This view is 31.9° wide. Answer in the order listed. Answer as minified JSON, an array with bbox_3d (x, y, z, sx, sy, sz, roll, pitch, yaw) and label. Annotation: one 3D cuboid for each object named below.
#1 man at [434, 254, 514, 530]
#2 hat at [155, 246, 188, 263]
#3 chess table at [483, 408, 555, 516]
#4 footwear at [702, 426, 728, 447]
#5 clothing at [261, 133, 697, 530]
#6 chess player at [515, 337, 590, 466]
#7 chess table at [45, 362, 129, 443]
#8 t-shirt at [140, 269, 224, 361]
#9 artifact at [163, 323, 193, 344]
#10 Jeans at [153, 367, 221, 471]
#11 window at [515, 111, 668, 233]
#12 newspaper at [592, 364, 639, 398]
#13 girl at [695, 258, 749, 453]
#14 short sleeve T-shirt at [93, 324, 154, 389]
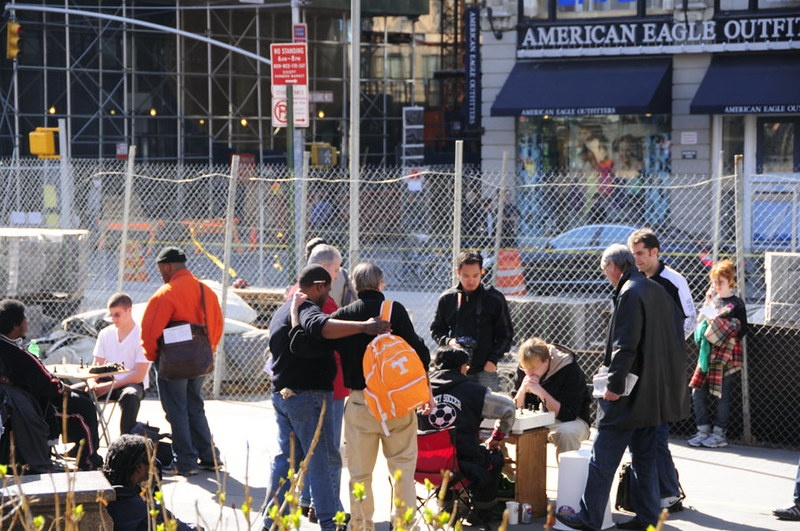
[{"bbox_3d":[1.296,1.910,23.977,1.260,4.267,1.454,-2,13,11],"label":"man"},{"bbox_3d":[-3.839,-0.165,23.376,0.359,0.173,0.280,-1,0,32],"label":"hat"},{"bbox_3d":[2.080,3.184,22.569,0.734,1.704,0.334,-2,4,-30],"label":"chess table"},{"bbox_3d":[5.444,3.013,24.365,0.225,0.272,0.506,1,-5,39],"label":"footwear"},{"bbox_3d":[3.160,0.539,26.641,6.266,7.537,6.653,-2,5,-19],"label":"clothing"},{"bbox_3d":[2.509,2.361,23.343,1.301,2.247,1.201,-1,2,41],"label":"chess player"},{"bbox_3d":[-5.396,2.516,23.908,1.530,1.618,1.156,6,11,38],"label":"chess table"},{"bbox_3d":[-3.696,0.900,23.874,1.514,1.614,0.815,-2,1,-30],"label":"t-shirt"},{"bbox_3d":[-3.705,1.121,23.172,0.403,0.326,0.112,-10,1,-1],"label":"artifact"},{"bbox_3d":[-3.585,2.324,23.702,0.637,2.494,0.809,-4,3,37],"label":"Jeans"},{"bbox_3d":[5.075,-2.400,36.092,3.002,3.486,0.136,-5,-12,9],"label":"window"},{"bbox_3d":[3.278,1.842,22.042,0.494,0.561,0.174,9,3,30],"label":"newspaper"},{"bbox_3d":[5.550,1.570,24.482,0.851,3.256,0.892,4,-3,5],"label":"girl"},{"bbox_3d":[-4.736,1.475,24.120,1.038,0.954,0.607,6,4,16],"label":"short sleeve T-shirt"}]
